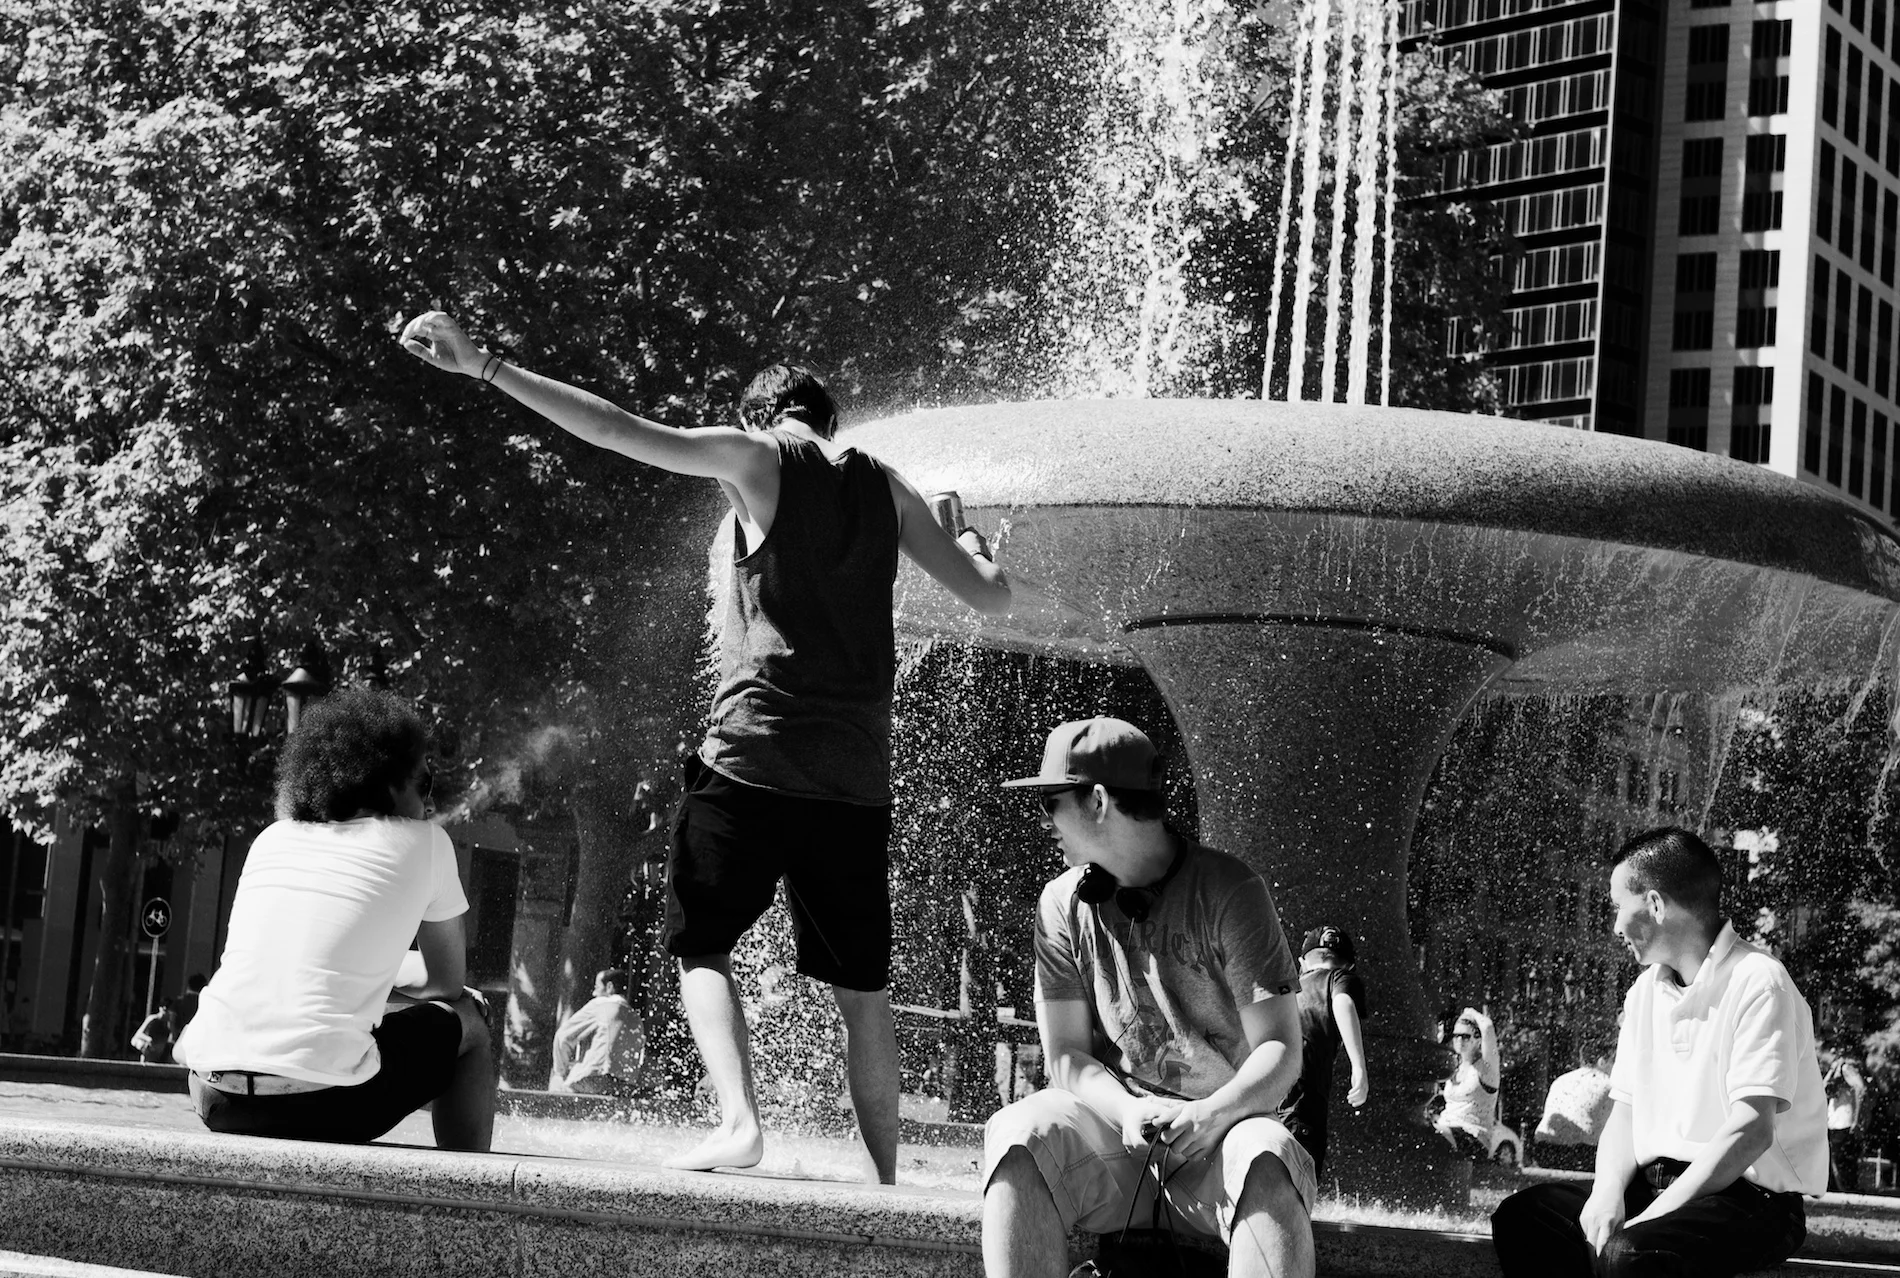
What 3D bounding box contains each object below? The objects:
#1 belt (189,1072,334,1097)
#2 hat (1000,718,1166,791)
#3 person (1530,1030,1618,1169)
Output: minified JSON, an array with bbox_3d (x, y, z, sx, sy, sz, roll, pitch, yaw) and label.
[{"bbox_3d":[-3.368,2.118,13.471,0.705,0.115,0.203,0,-7,21],"label":"belt"},{"bbox_3d":[0.685,0.540,13.072,0.487,0.300,0.337,1,-8,3],"label":"hat"},{"bbox_3d":[4.859,3.454,21.041,0.554,0.902,0.627,2,-19,43],"label":"person"}]
